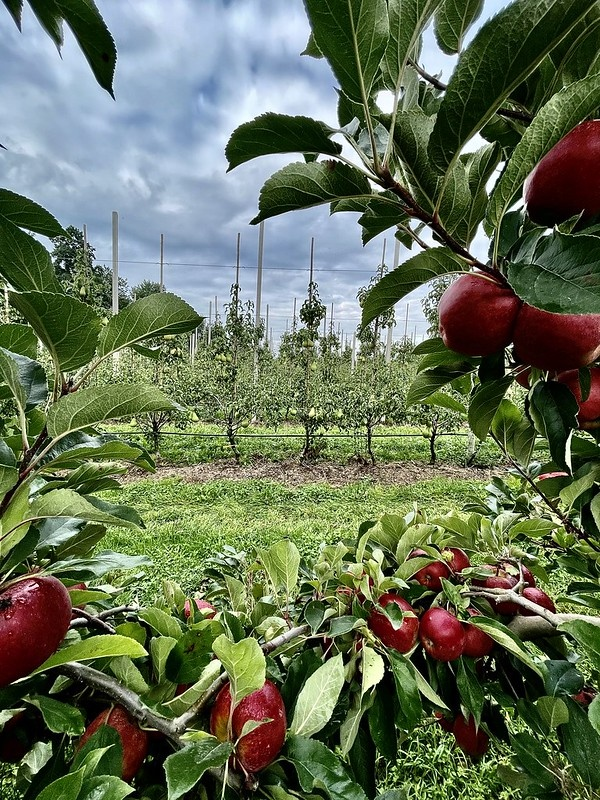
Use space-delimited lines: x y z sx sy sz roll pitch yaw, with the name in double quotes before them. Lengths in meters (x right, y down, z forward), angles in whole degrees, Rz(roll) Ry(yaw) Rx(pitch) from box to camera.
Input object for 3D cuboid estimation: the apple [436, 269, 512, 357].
"apple" 0.237 -0.104 0.635 0.107 0.112 0.100 9 0 27
